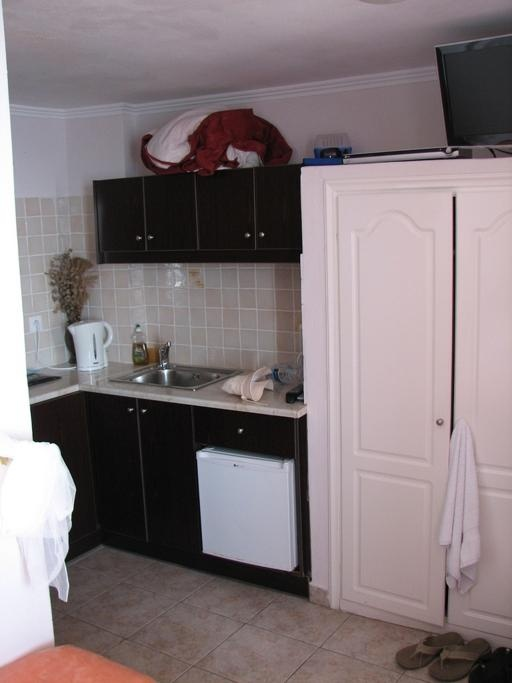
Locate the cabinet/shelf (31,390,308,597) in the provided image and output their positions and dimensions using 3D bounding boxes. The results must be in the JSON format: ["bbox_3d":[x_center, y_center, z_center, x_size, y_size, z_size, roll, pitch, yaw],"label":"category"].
[{"bbox_3d":[-0.408,0.741,2.838,1.326,0.939,0.325,-1,5,19],"label":"cabinet/shelf"}]

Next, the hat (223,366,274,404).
[{"bbox_3d":[-0.018,0.203,2.674,0.173,0.078,0.182,-7,5,31],"label":"hat"}]

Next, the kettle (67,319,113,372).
[{"bbox_3d":[-1.001,0.024,3.404,0.170,0.299,0.333,0,5,29],"label":"kettle"}]

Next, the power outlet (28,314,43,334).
[{"bbox_3d":[-1.352,-0.108,3.356,0.013,0.082,0.114,2,6,23],"label":"power outlet"}]

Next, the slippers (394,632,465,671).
[{"bbox_3d":[0.667,1.186,2.143,0.252,0.067,0.107,-12,10,-28],"label":"slippers"}]

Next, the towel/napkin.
[{"bbox_3d":[0.779,0.645,2.115,0.147,0.704,0.098,-1,5,20],"label":"towel/napkin"}]

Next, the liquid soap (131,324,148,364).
[{"bbox_3d":[-0.730,0.020,3.454,0.100,0.255,0.134,-4,5,-13],"label":"liquid soap"}]
